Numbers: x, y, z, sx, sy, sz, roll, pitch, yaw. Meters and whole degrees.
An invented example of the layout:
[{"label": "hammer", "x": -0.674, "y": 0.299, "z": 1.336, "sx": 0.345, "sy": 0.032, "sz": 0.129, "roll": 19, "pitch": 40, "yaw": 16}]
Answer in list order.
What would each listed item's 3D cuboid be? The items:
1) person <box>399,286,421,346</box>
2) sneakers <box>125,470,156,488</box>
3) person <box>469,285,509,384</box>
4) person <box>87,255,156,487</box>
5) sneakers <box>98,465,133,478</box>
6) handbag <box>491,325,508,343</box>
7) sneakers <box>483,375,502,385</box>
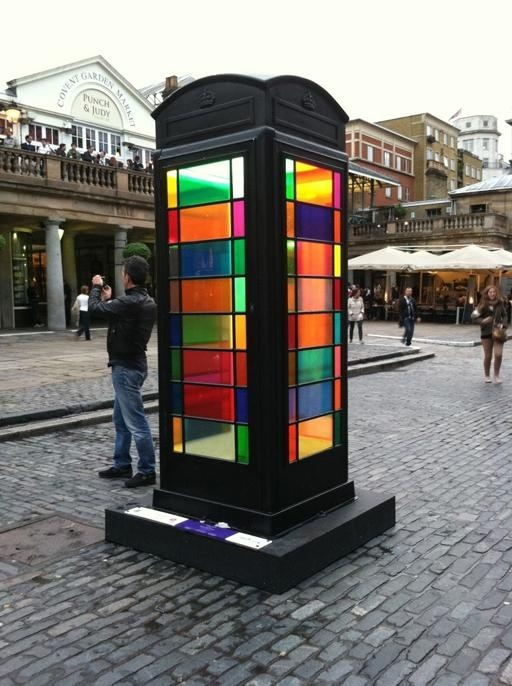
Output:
[{"label": "person", "x": 3.980, "y": -0.649, "z": 17.529, "sx": 0.404, "sy": 1.512, "sz": 0.775, "roll": 1, "pitch": 3, "yaw": 12}, {"label": "sneakers", "x": -0.895, "y": 1.080, "z": 5.279, "sx": 0.270, "sy": 0.121, "sz": 0.097, "roll": 1, "pitch": 0, "yaw": -35}, {"label": "person", "x": 4.025, "y": -0.121, "z": 11.577, "sx": 0.546, "sy": 1.699, "sz": 1.060, "roll": 1, "pitch": 4, "yaw": 18}, {"label": "person", "x": -1.037, "y": 0.242, "z": 5.296, "sx": 0.494, "sy": 1.819, "sz": 0.619, "roll": -1, "pitch": 3, "yaw": -9}, {"label": "sneakers", "x": -1.150, "y": 1.089, "z": 5.571, "sx": 0.286, "sy": 0.127, "sz": 0.105, "roll": 4, "pitch": 1, "yaw": 1}, {"label": "handbag", "x": 4.122, "y": -0.155, "z": 11.308, "sx": 0.239, "sy": 0.436, "sz": 0.347, "roll": 1, "pitch": 4, "yaw": 27}, {"label": "sneakers", "x": 4.178, "y": 0.670, "z": 11.859, "sx": 0.152, "sy": 0.207, "sz": 0.489, "roll": -2, "pitch": -8, "yaw": 7}]
